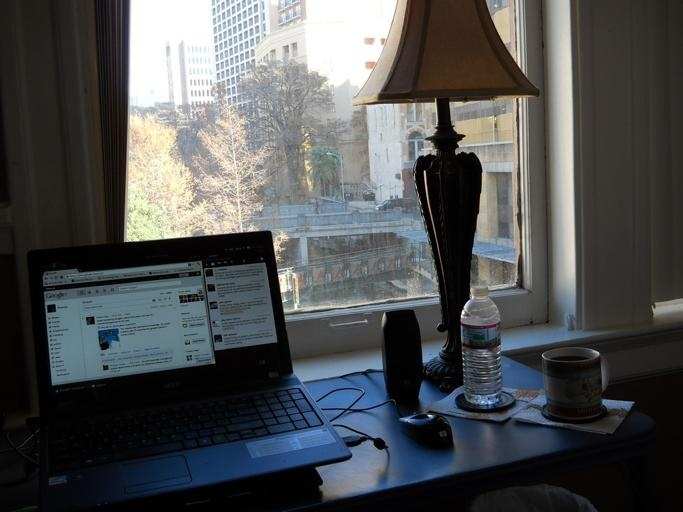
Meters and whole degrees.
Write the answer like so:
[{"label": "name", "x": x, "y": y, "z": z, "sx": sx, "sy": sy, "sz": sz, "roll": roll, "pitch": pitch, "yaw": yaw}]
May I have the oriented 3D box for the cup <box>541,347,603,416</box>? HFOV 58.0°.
[{"label": "cup", "x": 0.481, "y": 0.263, "z": 1.326, "sx": 0.145, "sy": 0.128, "sz": 0.110, "roll": -1, "pitch": -2, "yaw": -32}]
